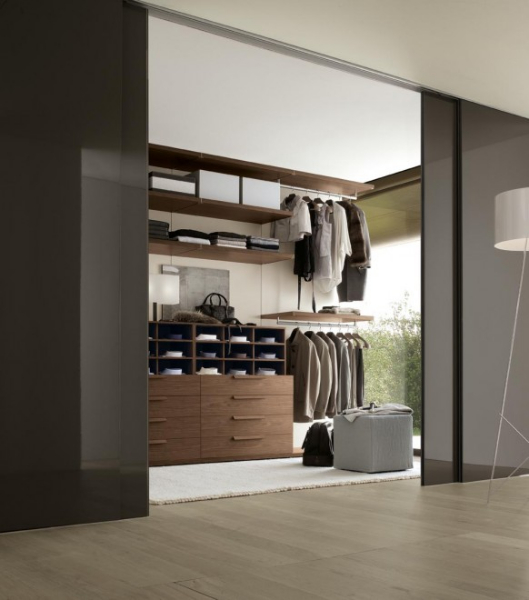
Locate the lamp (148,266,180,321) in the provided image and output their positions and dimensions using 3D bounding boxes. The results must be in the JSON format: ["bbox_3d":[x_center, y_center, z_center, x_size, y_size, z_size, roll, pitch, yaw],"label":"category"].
[{"bbox_3d":[-0.892,-0.046,5.377,0.207,0.414,0.216,-3,13,-39],"label":"lamp"}]

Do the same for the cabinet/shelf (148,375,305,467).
[{"bbox_3d":[-0.387,1.062,5.258,1.317,0.762,0.244,4,-9,-23],"label":"cabinet/shelf"}]

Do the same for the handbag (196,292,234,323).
[{"bbox_3d":[-0.507,0.087,5.761,0.222,0.226,0.101,7,-7,-35],"label":"handbag"}]

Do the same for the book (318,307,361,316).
[{"bbox_3d":[0.781,0.112,6.201,0.429,0.124,0.279,-2,-10,10],"label":"book"}]

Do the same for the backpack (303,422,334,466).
[{"bbox_3d":[0.443,1.268,4.980,0.245,0.239,0.422,3,43,4],"label":"backpack"}]

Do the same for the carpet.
[{"bbox_3d":[-0.057,1.276,4.380,2.102,0.082,1.721,6,-12,-29],"label":"carpet"}]

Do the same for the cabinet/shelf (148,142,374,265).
[{"bbox_3d":[-0.559,-1.087,5.703,2.160,0.573,0.335,20,19,38],"label":"cabinet/shelf"}]

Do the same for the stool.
[{"bbox_3d":[0.859,1.137,4.662,0.469,0.483,0.509,3,-8,-21],"label":"stool"}]
